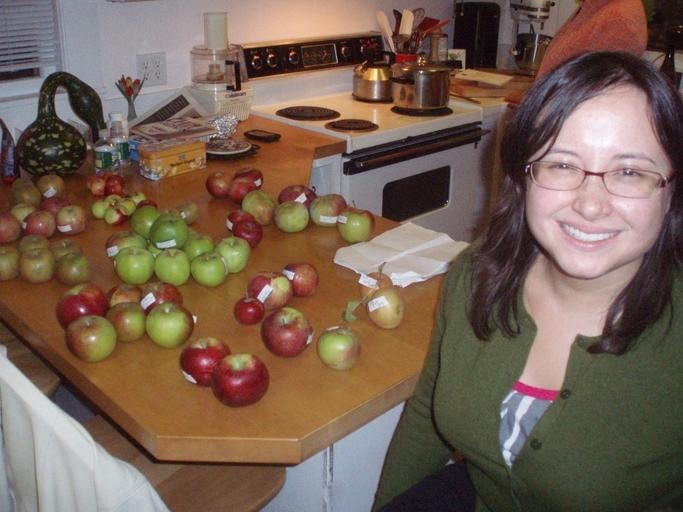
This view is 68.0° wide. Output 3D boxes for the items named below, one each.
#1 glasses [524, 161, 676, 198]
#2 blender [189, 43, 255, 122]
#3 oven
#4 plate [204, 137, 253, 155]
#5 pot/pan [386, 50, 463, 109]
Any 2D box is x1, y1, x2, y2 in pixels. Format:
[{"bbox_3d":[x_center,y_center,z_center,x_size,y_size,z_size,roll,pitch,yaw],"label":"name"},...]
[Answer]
[{"bbox_3d":[0.435,-0.131,0.871,0.209,0.048,0.041,12,29,29],"label":"glasses"},{"bbox_3d":[-0.622,-0.890,2.607,0.291,0.409,0.334,22,34,37],"label":"blender"},{"bbox_3d":[0.311,-0.368,3.067,1.065,0.767,0.642,-21,20,-34],"label":"oven"},{"bbox_3d":[-0.502,-0.477,2.257,0.196,0.048,0.146,-8,25,-9],"label":"plate"},{"bbox_3d":[0.470,-0.972,2.812,0.391,0.270,0.332,5,33,8],"label":"pot/pan"}]
